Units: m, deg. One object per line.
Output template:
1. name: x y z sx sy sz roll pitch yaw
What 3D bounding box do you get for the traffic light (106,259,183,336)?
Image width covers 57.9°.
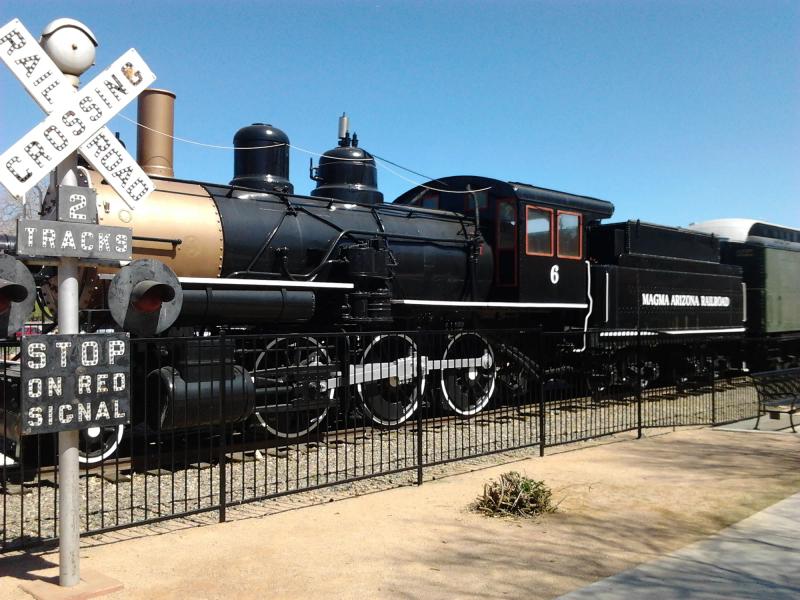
1. traffic light: -2.328 -0.024 6.534 0.662 0.678 0.336 4 -2 -4
